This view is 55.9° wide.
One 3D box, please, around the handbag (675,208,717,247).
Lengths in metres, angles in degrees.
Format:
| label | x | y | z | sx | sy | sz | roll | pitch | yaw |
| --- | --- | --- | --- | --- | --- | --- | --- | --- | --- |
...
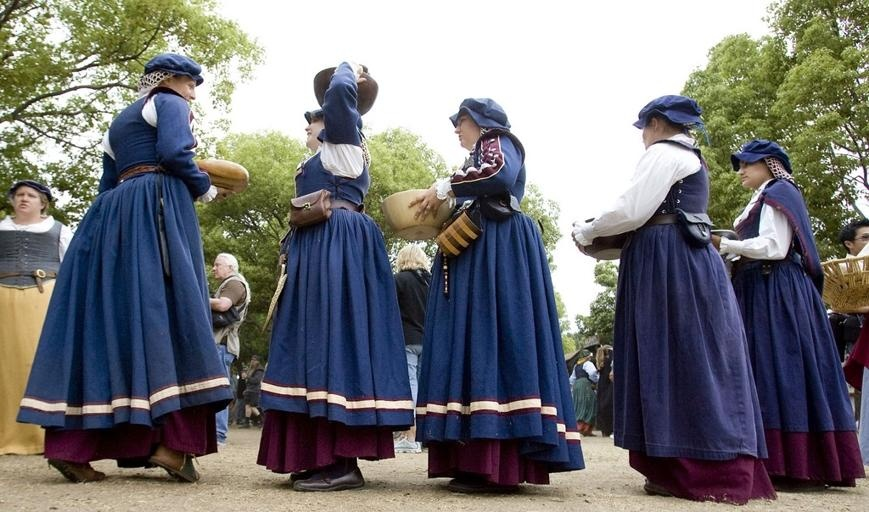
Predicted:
| label | x | y | z | sx | sy | sz | roll | pitch | yaw |
| --- | --- | --- | --- | --- | --- | --- | --- | --- | --- |
| handbag | 2.526 | -0.279 | 7.972 | 0.457 | 0.381 | 0.218 | 5 | -20 | -39 |

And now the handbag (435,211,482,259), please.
| label | x | y | z | sx | sy | sz | roll | pitch | yaw |
| --- | --- | --- | --- | --- | --- | --- | --- | --- | --- |
| handbag | 0.258 | -0.212 | 8.008 | 0.417 | 0.196 | 0.412 | -39 | -2 | -40 |

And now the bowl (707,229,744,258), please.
| label | x | y | z | sx | sy | sz | roll | pitch | yaw |
| --- | --- | --- | --- | --- | --- | --- | --- | --- | --- |
| bowl | 2.979 | -0.173 | 8.403 | 0.360 | 0.341 | 0.137 | 5 | -7 | -3 |

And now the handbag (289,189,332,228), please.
| label | x | y | z | sx | sy | sz | roll | pitch | yaw |
| --- | --- | --- | --- | --- | --- | --- | --- | --- | --- |
| handbag | -1.205 | -0.489 | 8.068 | 0.475 | 0.278 | 0.169 | -15 | -18 | 34 |

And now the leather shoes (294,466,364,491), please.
| label | x | y | z | sx | sy | sz | roll | pitch | yaw |
| --- | --- | --- | --- | --- | --- | --- | --- | --- | --- |
| leather shoes | -0.971 | 2.124 | 7.785 | 0.683 | 0.171 | 0.227 | 3 | -21 | -17 |

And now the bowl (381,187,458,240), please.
| label | x | y | z | sx | sy | sz | roll | pitch | yaw |
| --- | --- | --- | --- | --- | --- | --- | --- | --- | --- |
| bowl | -0.164 | -0.377 | 8.319 | 0.769 | 0.284 | 0.705 | -4 | -28 | -2 |

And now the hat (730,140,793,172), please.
| label | x | y | z | sx | sy | sz | roll | pitch | yaw |
| --- | --- | --- | --- | --- | --- | --- | --- | --- | --- |
| hat | 3.601 | -1.167 | 9.004 | 0.623 | 0.249 | 0.398 | 8 | -12 | 5 |
